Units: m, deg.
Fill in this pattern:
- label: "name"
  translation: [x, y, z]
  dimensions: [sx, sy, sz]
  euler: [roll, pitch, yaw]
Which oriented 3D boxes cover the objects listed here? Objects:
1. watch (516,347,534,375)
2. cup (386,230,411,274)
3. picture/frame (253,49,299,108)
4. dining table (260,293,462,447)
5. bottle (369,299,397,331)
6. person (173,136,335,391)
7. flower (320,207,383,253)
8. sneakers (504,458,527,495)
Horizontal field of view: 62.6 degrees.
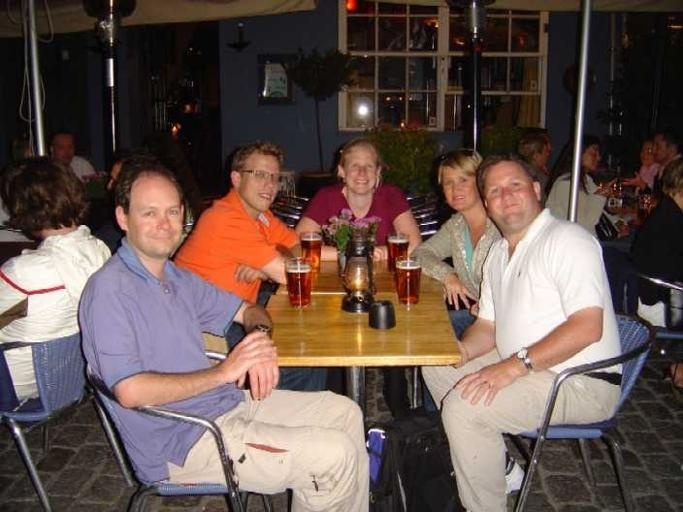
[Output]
- label: "watch"
  translation: [0.907, 0.518, 2.821]
  dimensions: [0.051, 0.113, 0.113]
  euler: [-5, 12, -18]
- label: "cup"
  translation: [0.373, -0.032, 3.826]
  dimensions: [0.212, 0.355, 0.223]
  euler: [0, 1, 0]
- label: "picture/frame"
  translation: [-1.108, -3.103, 9.654]
  dimensions: [0.928, 1.233, 0.153]
  euler: [0, 13, 1]
- label: "dining table"
  translation: [0.132, 0.517, 3.011]
  dimensions: [0.649, 0.655, 0.663]
  euler: [-1, 27, 1]
- label: "bottle"
  translation: [0.210, 0.310, 2.955]
  dimensions: [0.132, 0.132, 0.136]
  euler: [1, 6, 3]
- label: "person"
  translation: [-0.718, 0.024, 3.914]
  dimensions: [0.925, 1.643, 0.667]
  euler: [7, 30, -8]
- label: "flower"
  translation: [0.068, -0.128, 3.865]
  dimensions: [0.347, 0.335, 0.347]
  euler: [0, -3, -3]
- label: "sneakers"
  translation: [0.948, 1.228, 3.133]
  dimensions: [0.104, 0.141, 0.318]
  euler: [1, 10, 14]
